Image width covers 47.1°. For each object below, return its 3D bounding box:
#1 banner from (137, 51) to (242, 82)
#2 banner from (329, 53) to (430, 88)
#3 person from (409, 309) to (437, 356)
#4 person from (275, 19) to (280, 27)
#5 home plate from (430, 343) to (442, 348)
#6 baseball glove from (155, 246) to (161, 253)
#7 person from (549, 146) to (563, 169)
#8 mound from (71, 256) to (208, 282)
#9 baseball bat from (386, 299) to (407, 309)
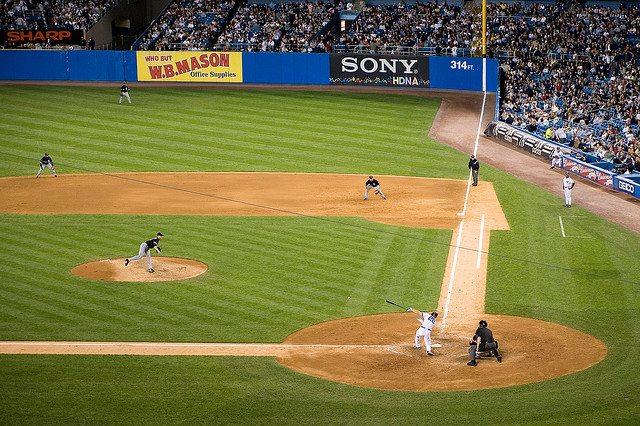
[{"bbox_3d":[-13.011,-14.546,73.031,12.875,3.178,0.227,5,16,25],"label":"banner"},{"bbox_3d":[5.565,-13.969,71.202,11.626,3.099,0.064,7,23,23],"label":"banner"},{"bbox_3d":[4.285,4.931,30.856,1.178,1.761,1.214,5,12,4],"label":"person"},{"bbox_3d":[-4.342,-19.309,74.376,0.648,0.773,0.343,-7,-22,5],"label":"person"},{"bbox_3d":[4.957,5.617,31.147,0.417,0.070,0.351,6,10,19],"label":"home plate"},{"bbox_3d":[-8.171,1.815,37.341,0.335,0.125,0.584,-27,17,-1],"label":"baseball glove"},{"bbox_3d":[17.218,-3.999,53.459,0.861,1.537,0.817,6,12,9],"label":"person"},{"bbox_3d":[-9.119,2.867,37.401,6.284,0.664,2.650,2,9,-5],"label":"mound"},{"bbox_3d":[3.618,4.229,33.997,1.278,0.139,0.173,18,-30,-21],"label":"baseball bat"}]
